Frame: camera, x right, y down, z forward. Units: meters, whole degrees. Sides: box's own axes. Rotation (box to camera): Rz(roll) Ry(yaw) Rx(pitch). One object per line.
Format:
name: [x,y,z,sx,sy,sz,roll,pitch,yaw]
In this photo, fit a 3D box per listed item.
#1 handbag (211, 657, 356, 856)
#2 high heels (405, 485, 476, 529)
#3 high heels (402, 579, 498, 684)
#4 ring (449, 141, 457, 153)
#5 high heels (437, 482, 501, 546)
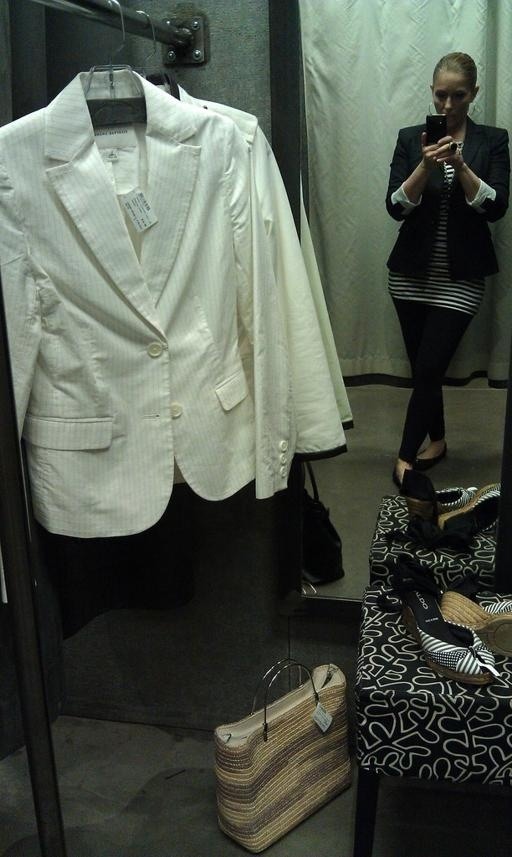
handbag: [0.055,0.615,1.297,0.100,0.283,0.250,10,26,43]
high heels: [0.356,0.161,1.424,0.160,0.062,0.065,-17,-25,19]
high heels: [0.296,0.311,1.099,0.057,0.039,0.181,-8,20,-8]
ring: [0.331,-0.466,1.171,0.003,0.014,0.010,1,6,-7]
high heels: [0.416,0.164,1.362,0.070,0.065,0.170,11,32,36]
